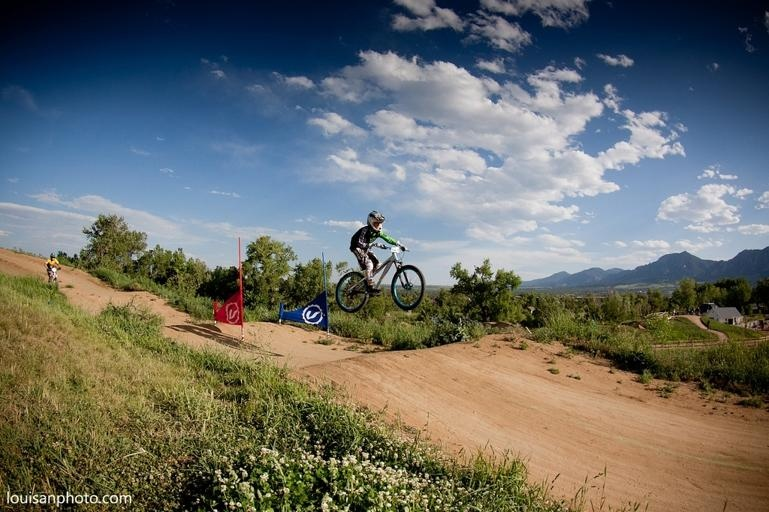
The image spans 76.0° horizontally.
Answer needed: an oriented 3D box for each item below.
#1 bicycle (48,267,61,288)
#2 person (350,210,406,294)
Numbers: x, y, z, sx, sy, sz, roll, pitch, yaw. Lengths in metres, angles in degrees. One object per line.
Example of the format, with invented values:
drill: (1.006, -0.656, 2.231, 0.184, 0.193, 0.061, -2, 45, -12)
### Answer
bicycle: (-16.537, 1.042, 24.724, 0.707, 0.904, 1.440, -6, 10, -42)
person: (-0.443, -0.189, 16.967, 1.477, 2.701, 0.473, 12, 8, 30)
